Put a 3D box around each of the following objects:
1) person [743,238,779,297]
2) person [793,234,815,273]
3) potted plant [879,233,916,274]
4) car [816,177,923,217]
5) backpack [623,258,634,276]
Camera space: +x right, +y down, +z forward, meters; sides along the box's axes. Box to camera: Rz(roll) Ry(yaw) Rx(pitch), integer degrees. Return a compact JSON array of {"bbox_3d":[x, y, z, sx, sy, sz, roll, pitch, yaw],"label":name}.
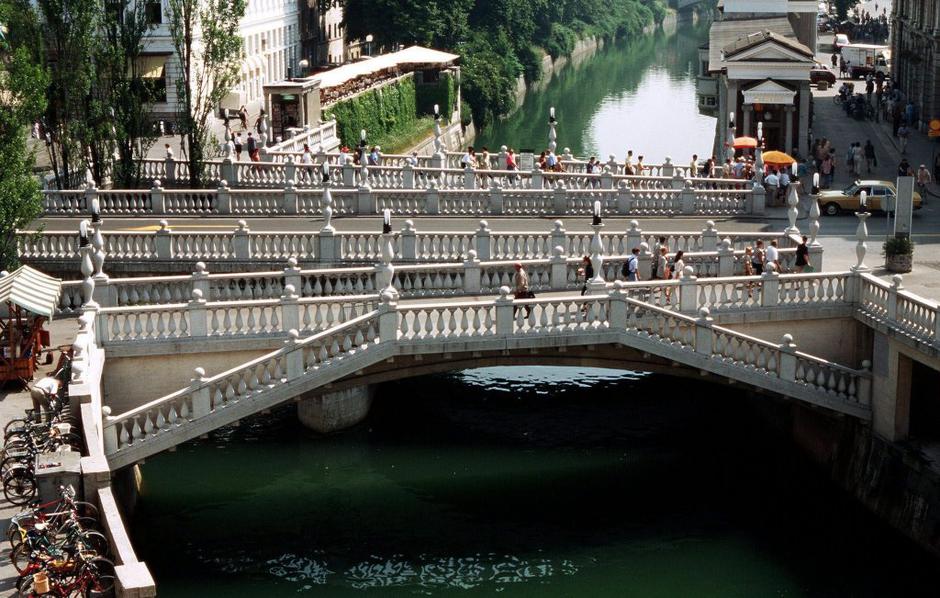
[{"bbox_3d":[9.823,-1.015,41.565,1.047,2.274,0.957,-8,26,-13],"label":"person"},{"bbox_3d":[11.467,-1.550,42.390,0.569,1.059,1.114,0,6,18],"label":"person"},{"bbox_3d":[15.301,-1.691,44.037,0.918,1.465,0.694,0,5,14],"label":"potted plant"},{"bbox_3d":[17.279,-4.579,55.115,3.096,1.459,2.081,0,6,17],"label":"car"},{"bbox_3d":[5.358,-1.161,41.540,0.422,0.460,0.235,24,28,39],"label":"backpack"}]
